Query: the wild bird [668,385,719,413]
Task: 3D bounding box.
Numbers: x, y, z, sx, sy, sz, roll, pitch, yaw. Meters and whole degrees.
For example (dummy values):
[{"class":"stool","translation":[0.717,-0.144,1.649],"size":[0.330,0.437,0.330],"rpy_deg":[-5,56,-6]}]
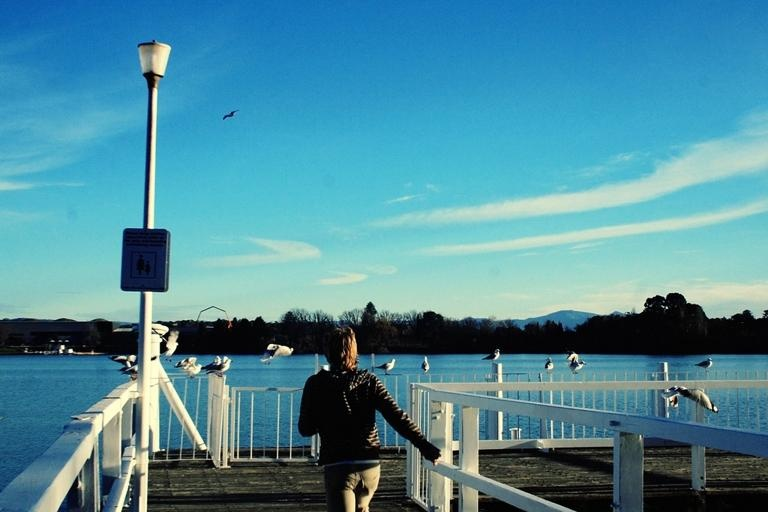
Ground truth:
[{"class":"wild bird","translation":[6.605,3.029,18.153],"size":[1.007,0.503,0.732],"rpy_deg":[-7,-10,35]}]
